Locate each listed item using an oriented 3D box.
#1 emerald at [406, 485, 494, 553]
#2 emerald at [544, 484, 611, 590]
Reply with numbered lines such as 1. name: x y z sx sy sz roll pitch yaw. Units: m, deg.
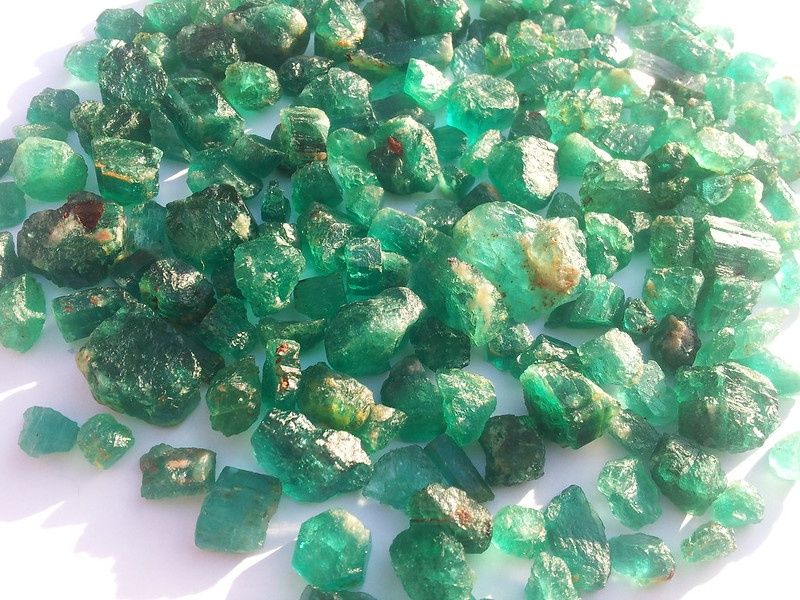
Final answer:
1. emerald: 0.118 0.518 2.178 0.196 0.066 0.125 31 67 -9
2. emerald: 0.424 0.569 2.176 0.124 0.055 0.222 -2 72 -3
